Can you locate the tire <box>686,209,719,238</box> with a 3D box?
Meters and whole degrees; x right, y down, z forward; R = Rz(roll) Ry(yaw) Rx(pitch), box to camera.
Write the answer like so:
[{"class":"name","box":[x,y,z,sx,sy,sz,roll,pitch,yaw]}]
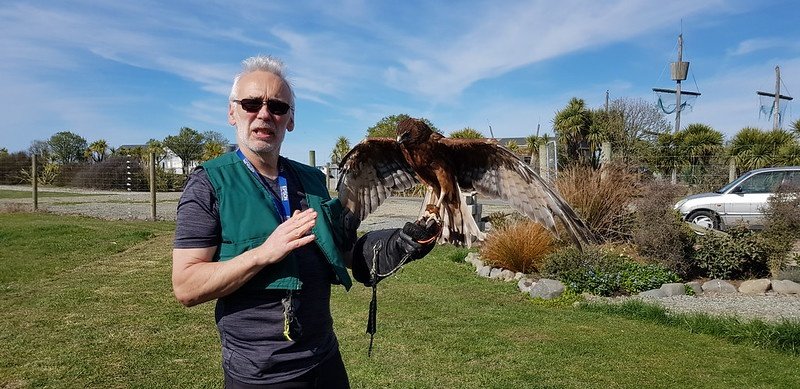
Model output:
[{"class":"tire","box":[10.826,1.034,17.779,0.823,0.703,0.273,-1,-19,13]}]
